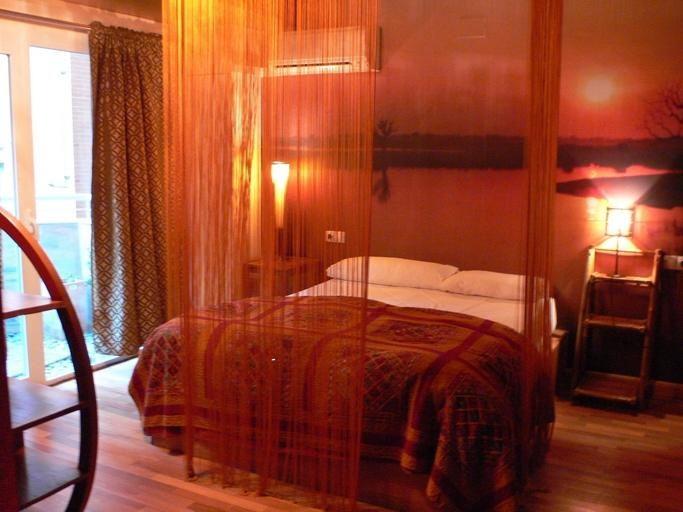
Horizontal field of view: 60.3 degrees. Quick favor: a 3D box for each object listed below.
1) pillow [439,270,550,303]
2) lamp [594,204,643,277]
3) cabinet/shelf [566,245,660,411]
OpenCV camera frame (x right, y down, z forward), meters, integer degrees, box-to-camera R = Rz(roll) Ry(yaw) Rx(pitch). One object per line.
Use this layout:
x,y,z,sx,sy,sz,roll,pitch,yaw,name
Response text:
0.864,0.173,3.259,0.408,0.234,0.101,5,-26,26,pillow
1.755,-0.096,3.689,0.262,0.438,0.077,1,8,-4,lamp
1.723,0.440,3.667,0.444,0.970,0.323,6,9,29,cabinet/shelf
